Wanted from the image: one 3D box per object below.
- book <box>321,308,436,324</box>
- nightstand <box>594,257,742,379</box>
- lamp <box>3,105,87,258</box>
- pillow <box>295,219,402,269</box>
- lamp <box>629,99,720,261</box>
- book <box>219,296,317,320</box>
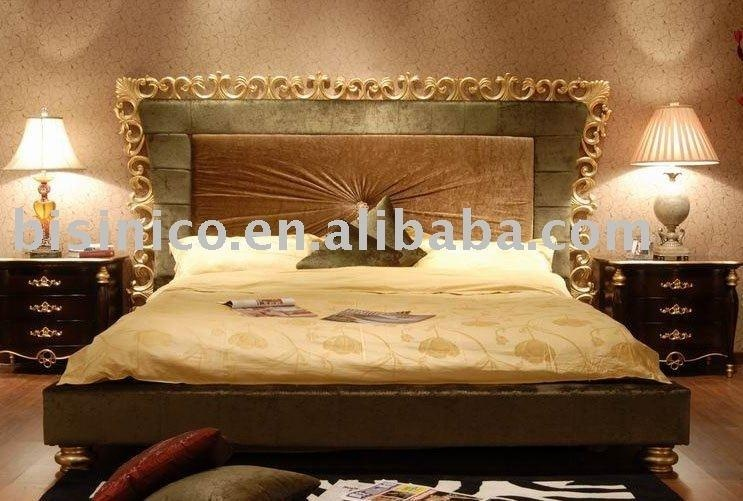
[{"bbox_3d":[0.038,0.346,3.732,0.567,0.026,0.229,1,9,3],"label":"book"},{"bbox_3d":[1.932,0.422,5.419,1.342,1.024,0.843,-1,0,2],"label":"nightstand"},{"bbox_3d":[-2.360,-0.505,5.202,0.491,1.022,0.456,8,15,34],"label":"lamp"},{"bbox_3d":[-0.162,-0.040,4.813,0.475,0.130,0.403,1,18,7],"label":"pillow"},{"bbox_3d":[2.184,-0.519,5.247,0.529,1.128,0.542,12,17,43],"label":"lamp"},{"bbox_3d":[-0.551,0.301,3.820,0.370,0.056,0.395,-4,10,-27],"label":"book"}]
